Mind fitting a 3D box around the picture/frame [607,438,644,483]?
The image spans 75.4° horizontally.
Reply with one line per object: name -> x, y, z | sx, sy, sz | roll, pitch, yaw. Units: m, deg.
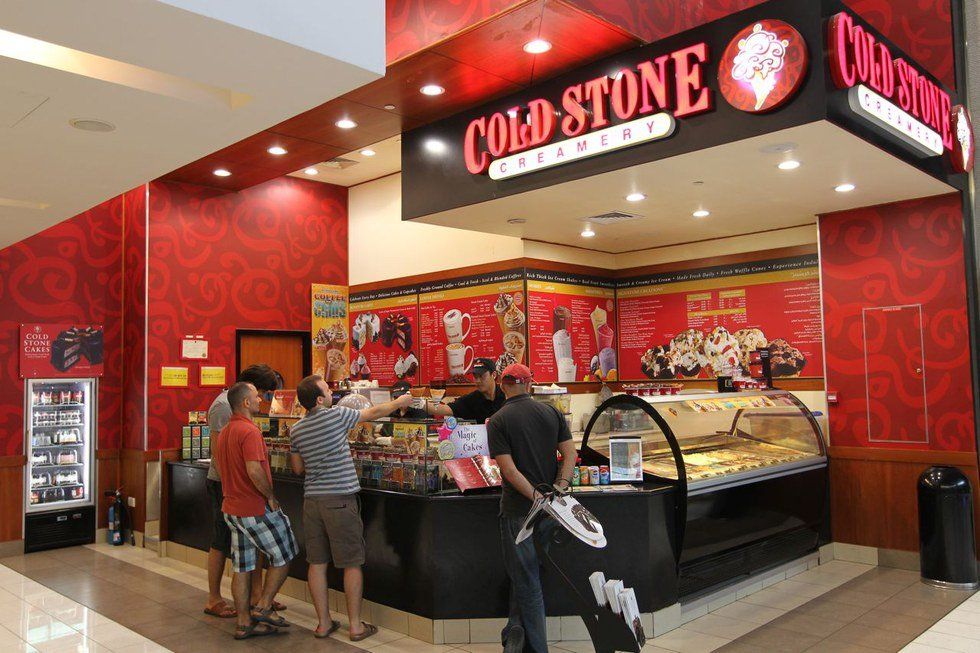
picture/frame -> 1.203, 1.180, 5.572 | 0.407, 0.473, 0.036 | 1, -19, 13

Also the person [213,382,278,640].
person -> -2.083, 1.570, 5.528 | 0.384, 1.468, 0.587 | -3, -2, -39

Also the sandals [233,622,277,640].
sandals -> -2.014, 2.600, 5.461 | 0.313, 0.119, 0.139 | 2, -4, -35

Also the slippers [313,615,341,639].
slippers -> -1.382, 2.588, 5.464 | 0.105, 0.093, 0.229 | 3, 5, 26

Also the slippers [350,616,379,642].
slippers -> -1.050, 2.568, 5.391 | 0.117, 0.089, 0.216 | 1, 2, 36

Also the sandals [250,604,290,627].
sandals -> -1.885, 2.526, 5.560 | 0.322, 0.130, 0.165 | 15, -8, -34

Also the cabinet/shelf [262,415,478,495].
cabinet/shelf -> -1.081, 1.169, 5.952 | 2.510, 0.629, 0.334 | -2, -5, 26

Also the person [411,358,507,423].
person -> -0.263, 0.703, 6.148 | 0.833, 0.698, 0.580 | -5, -8, 10

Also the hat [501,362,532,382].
hat -> 0.209, 0.348, 5.033 | 0.132, 0.096, 0.179 | 2, 15, -38

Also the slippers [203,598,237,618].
slippers -> -2.492, 2.613, 5.939 | 0.250, 0.088, 0.147 | -3, -5, 29

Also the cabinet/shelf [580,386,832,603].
cabinet/shelf -> 2.293, 1.543, 6.321 | 2.772, 2.010, 0.732 | -3, -1, -35
